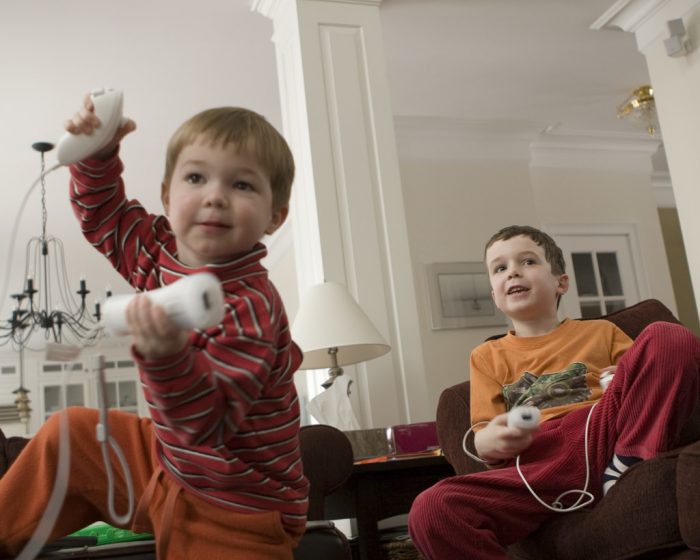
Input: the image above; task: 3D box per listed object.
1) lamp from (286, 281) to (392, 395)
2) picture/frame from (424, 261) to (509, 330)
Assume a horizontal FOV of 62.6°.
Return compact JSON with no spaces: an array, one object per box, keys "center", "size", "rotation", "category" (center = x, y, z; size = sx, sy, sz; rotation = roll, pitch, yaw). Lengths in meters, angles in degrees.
[{"center":[-0.087,0.234,2.361],"size":[0.490,0.454,0.465],"rotation":[-5,4,17],"category":"lamp"},{"center":[0.716,0.129,3.708],"size":[0.528,0.378,0.041],"rotation":[2,-22,-17],"category":"picture/frame"}]
